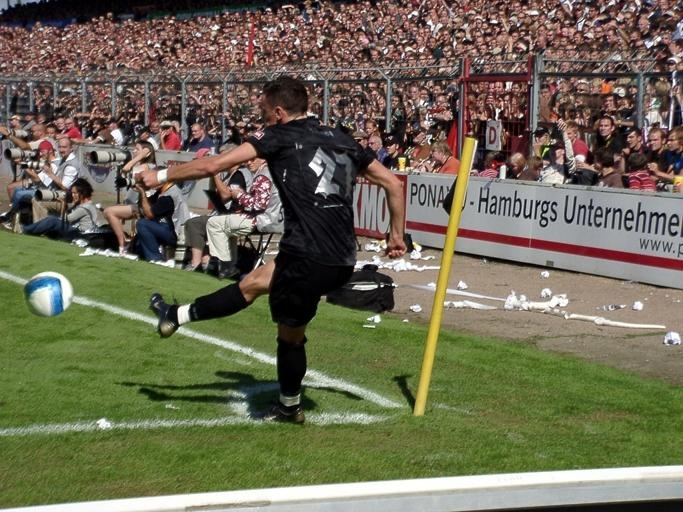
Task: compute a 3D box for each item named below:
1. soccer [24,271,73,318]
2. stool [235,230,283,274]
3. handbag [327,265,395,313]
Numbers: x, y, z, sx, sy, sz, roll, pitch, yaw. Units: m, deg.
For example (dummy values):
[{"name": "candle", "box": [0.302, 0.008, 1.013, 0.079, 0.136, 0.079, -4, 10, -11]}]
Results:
[{"name": "soccer", "box": [-2.356, 0.321, 7.403, 0.398, 0.369, 0.380, 2, -2, 8]}, {"name": "stool", "box": [-1.139, -0.088, 12.038, 0.633, 0.623, 0.558, -12, 20, -39]}, {"name": "handbag", "box": [0.295, 0.356, 10.529, 0.852, 0.461, 0.787, 1, 15, -46]}]
